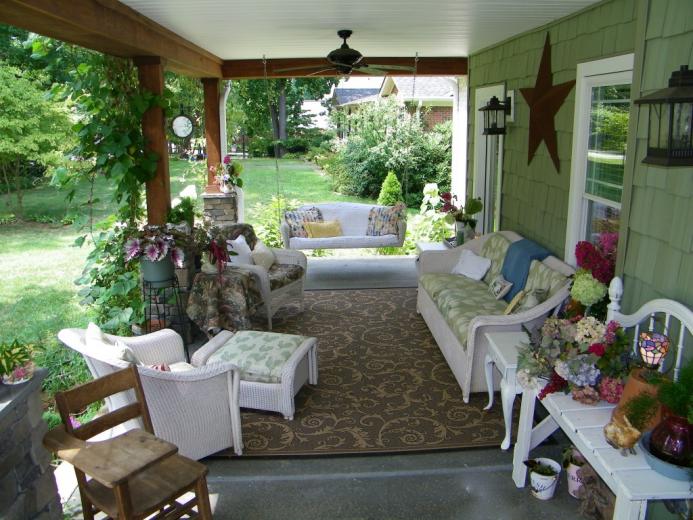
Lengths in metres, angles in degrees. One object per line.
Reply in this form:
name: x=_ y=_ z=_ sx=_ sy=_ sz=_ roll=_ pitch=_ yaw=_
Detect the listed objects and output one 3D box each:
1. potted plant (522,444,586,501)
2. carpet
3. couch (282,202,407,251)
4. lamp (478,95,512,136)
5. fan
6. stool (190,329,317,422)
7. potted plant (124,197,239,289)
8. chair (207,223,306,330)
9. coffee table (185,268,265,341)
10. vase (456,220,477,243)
potted plant: x=1.277 y=1.307 z=3.045 sx=0.353 sy=0.253 sz=0.283 roll=2 pitch=7 yaw=13
carpet: x=0.047 y=1.000 z=4.798 sx=2.097 sy=0.020 sz=3.034 roll=-2 pitch=14 yaw=-6
couch: x=-0.100 y=-0.470 z=7.584 sx=1.842 sy=0.751 sz=1.197 roll=-5 pitch=15 yaw=-7
lamp: x=1.784 y=-1.739 z=5.776 sx=0.306 sy=0.432 sz=0.455 roll=3 pitch=17 yaw=23
fan: x=-0.039 y=-2.583 z=5.975 sx=1.379 sy=0.443 sz=1.353 roll=1 pitch=11 yaw=2
stool: x=-0.690 y=0.853 z=3.850 sx=0.918 sy=0.399 sz=0.708 roll=5 pitch=23 yaw=7
potted plant: x=-1.615 y=-0.211 z=4.860 sx=0.988 sy=0.568 sz=0.896 roll=1 pitch=13 yaw=4
chair: x=-1.025 y=0.226 z=5.404 sx=0.823 sy=0.833 sz=1.234 roll=4 pitch=14 yaw=13
coffee table: x=-1.234 y=0.424 z=5.099 sx=0.807 sy=0.624 sz=0.681 roll=0 pitch=22 yaw=-5
vase: x=1.528 y=-0.364 z=6.334 sx=0.358 sy=0.295 sz=0.190 roll=0 pitch=5 yaw=-4
